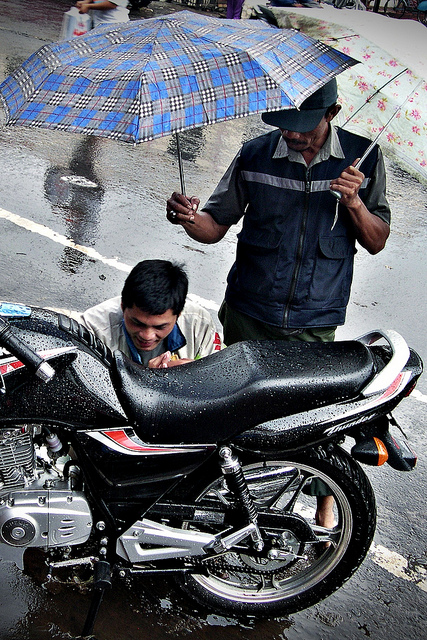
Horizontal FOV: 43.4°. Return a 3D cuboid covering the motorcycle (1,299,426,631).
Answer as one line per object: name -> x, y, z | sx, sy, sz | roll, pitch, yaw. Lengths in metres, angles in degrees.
motorcycle -> 0.281, 0.446, 2.235 | 1.969, 1.109, 0.981 | 4, 24, -8

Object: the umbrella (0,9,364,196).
umbrella -> -0.091, -0.797, 1.796 | 1.150, 0.371, 0.662 | -5, 37, -21

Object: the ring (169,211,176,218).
ring -> -0.164, -0.440, 2.208 | 0.031, 0.027, 0.007 | 2, 9, -3
